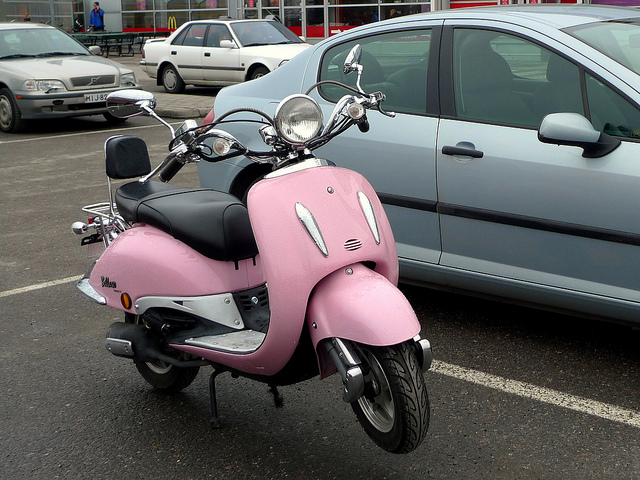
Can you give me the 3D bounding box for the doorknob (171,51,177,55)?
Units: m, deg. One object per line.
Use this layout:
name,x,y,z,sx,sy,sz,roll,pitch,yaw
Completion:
doorknob,-4.199,-5.423,15.831,0.084,0.097,0.157,0,26,-3

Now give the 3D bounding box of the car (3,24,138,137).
car,-5.285,-3.406,11.315,3.858,1.687,2.273,12,17,43

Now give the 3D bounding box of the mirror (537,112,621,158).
mirror,1.533,-0.617,3.248,0.450,0.247,0.136,6,26,18

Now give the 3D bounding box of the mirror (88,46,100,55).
mirror,-5.151,-4.394,12.626,0.312,0.196,0.176,12,28,32

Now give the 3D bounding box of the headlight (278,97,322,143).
headlight,-0.081,-0.514,2.314,0.187,0.190,0.053,-16,28,-27

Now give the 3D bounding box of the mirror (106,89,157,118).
mirror,-0.967,-0.684,2.791,0.220,0.105,0.152,3,32,11

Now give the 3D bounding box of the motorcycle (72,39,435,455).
motorcycle,-0.539,0.098,2.814,2.530,1.557,1.155,9,14,43

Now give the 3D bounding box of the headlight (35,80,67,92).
headlight,-5.293,-3.078,10.843,0.536,0.202,0.091,-4,25,-4

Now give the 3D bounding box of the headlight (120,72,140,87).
headlight,-4.136,-3.448,11.798,0.211,0.252,0.423,-13,17,-37
